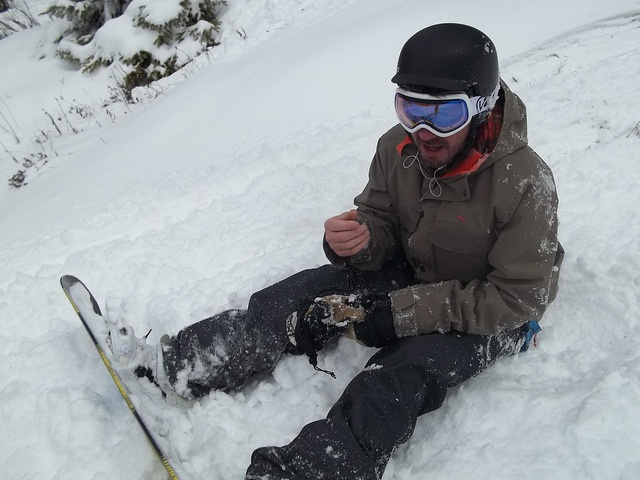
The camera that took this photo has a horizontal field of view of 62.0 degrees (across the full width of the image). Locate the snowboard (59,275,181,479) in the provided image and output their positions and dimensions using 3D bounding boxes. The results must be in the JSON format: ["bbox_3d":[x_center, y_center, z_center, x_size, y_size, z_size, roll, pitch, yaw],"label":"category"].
[{"bbox_3d":[-1.493,1.076,3.953,0.211,0.165,1.494,-20,67,-31],"label":"snowboard"}]

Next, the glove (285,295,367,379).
[{"bbox_3d":[0.005,0.735,4.274,0.492,0.898,0.362,-10,57,4],"label":"glove"}]

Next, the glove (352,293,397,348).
[{"bbox_3d":[0.411,0.616,4.010,0.323,0.402,0.283,8,13,3],"label":"glove"}]
